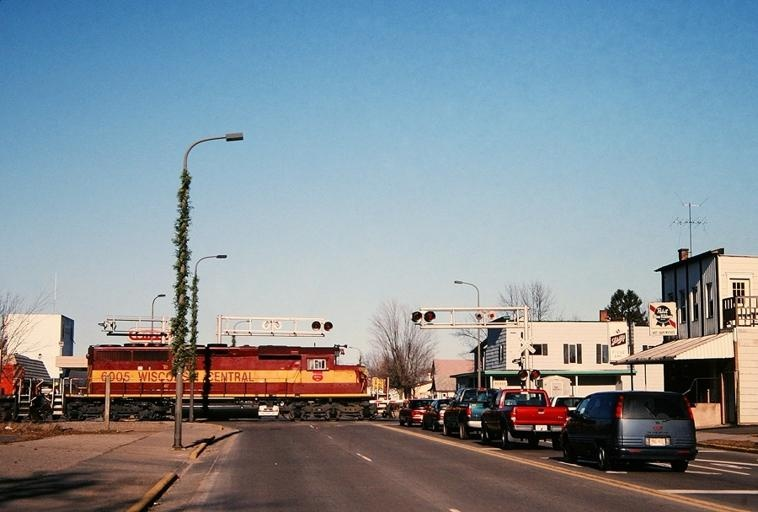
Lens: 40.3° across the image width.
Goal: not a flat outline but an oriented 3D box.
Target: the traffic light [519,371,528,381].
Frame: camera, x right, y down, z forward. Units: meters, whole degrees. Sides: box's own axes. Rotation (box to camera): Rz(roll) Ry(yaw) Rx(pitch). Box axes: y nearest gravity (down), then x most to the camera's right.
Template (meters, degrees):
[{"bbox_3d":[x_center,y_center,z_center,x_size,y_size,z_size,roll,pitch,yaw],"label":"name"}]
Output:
[{"bbox_3d":[8.986,7.318,63.793,0.782,0.532,0.769,2,-6,0],"label":"traffic light"}]

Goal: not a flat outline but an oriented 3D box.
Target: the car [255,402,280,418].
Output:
[{"bbox_3d":[-8.098,11.158,75.694,1.590,0.952,1.159,-1,-11,-6],"label":"car"}]
